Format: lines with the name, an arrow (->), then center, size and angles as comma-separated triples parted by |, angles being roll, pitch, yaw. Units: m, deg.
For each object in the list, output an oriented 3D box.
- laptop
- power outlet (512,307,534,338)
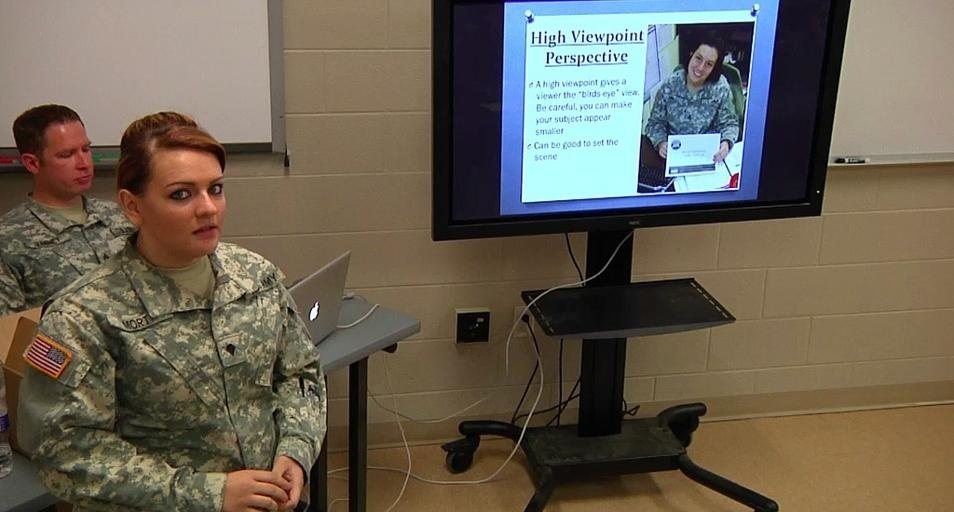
laptop -> -0.788, 0.216, 3.683 | 0.250, 0.308, 0.336 | 37, 48, 22
power outlet -> 0.268, 0.394, 4.515 | 0.114, 0.199, 0.033 | -2, 16, -4
